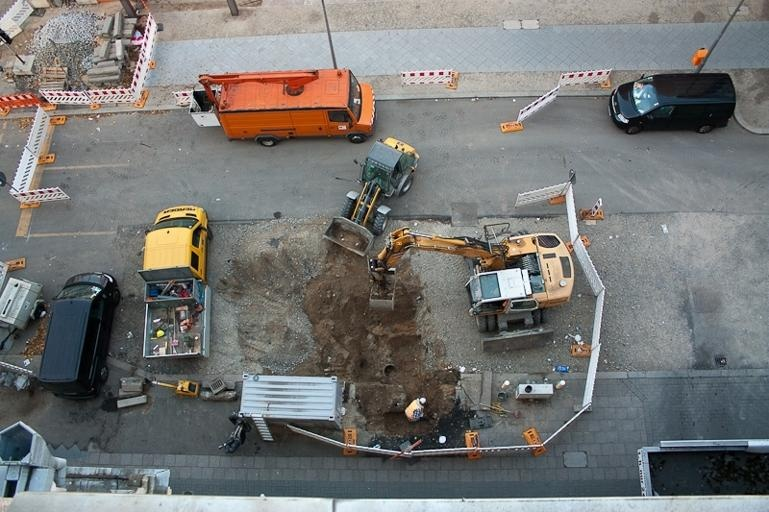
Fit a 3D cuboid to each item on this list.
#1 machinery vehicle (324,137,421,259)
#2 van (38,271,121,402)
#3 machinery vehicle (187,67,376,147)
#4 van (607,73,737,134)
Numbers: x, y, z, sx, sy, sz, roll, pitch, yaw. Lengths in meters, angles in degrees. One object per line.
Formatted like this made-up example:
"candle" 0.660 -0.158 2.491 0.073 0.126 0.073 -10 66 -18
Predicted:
"machinery vehicle" -0.697 -3.060 35.151 3.074 3.337 7.167 27 82 5
"van" -14.511 3.707 33.632 3.016 2.566 5.805 4 86 -2
"machinery vehicle" -4.952 -7.918 36.531 8.570 3.826 3.699 -3 76 1
"van" 14.415 -7.605 35.672 5.590 1.451 2.647 -1 78 0
